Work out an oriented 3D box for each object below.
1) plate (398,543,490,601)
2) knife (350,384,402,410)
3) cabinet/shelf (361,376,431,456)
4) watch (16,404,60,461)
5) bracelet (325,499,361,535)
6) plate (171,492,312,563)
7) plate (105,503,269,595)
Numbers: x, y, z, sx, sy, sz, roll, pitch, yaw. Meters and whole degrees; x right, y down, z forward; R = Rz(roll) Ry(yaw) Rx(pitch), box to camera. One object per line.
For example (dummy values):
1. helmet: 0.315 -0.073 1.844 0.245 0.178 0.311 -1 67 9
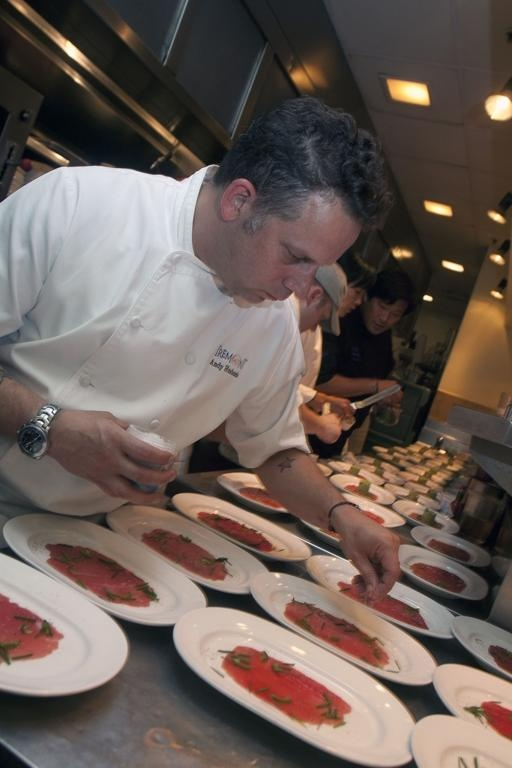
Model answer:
1. plate: 0.506 0.519 1.574 0.192 0.032 0.254 17 3 -5
2. knife: 0.679 0.069 3.324 0.045 0.093 0.486 -17 -6 -30
3. cabinet/shelf: 1.211 0.316 5.052 0.416 0.388 0.774 -16 -10 40
4. watch: -0.327 0.071 0.862 0.049 0.086 0.034 25 1 -5
5. bracelet: 0.179 0.287 1.239 0.060 0.072 0.022 20 -20 3
6. plate: -0.028 0.336 1.345 0.347 0.035 0.146 22 13 37
7. plate: -0.129 0.281 1.108 0.248 0.024 0.144 23 -4 34
